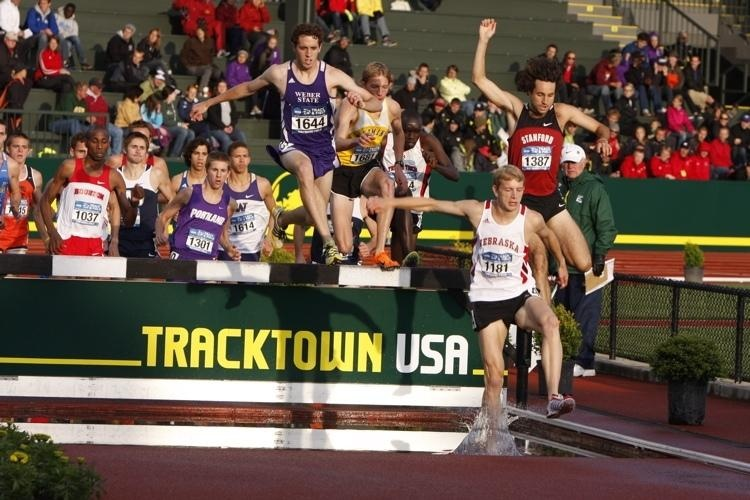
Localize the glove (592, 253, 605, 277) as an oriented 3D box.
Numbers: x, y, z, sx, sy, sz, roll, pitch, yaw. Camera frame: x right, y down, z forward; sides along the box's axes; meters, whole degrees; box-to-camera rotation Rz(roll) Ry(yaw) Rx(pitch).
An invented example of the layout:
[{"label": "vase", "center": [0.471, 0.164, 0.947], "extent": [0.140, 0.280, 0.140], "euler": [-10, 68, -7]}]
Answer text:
[{"label": "glove", "center": [3.300, 0.199, 18.102], "extent": [0.187, 0.303, 0.092], "euler": [2, 3, -4]}]

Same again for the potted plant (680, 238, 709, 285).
[{"label": "potted plant", "center": [6.597, 0.263, 25.270], "extent": [0.378, 0.886, 0.867], "euler": [-1, 7, 14]}]

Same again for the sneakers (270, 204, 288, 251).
[{"label": "sneakers", "center": [-1.460, -0.332, 18.584], "extent": [0.211, 0.681, 0.281], "euler": [-9, 33, -20]}]

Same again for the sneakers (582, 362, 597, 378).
[{"label": "sneakers", "center": [3.295, 1.849, 18.846], "extent": [0.186, 0.276, 0.559], "euler": [0, -3, 6]}]

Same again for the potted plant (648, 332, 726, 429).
[{"label": "potted plant", "center": [4.251, 1.701, 16.697], "extent": [1.016, 1.297, 1.139], "euler": [1, -5, 11]}]
